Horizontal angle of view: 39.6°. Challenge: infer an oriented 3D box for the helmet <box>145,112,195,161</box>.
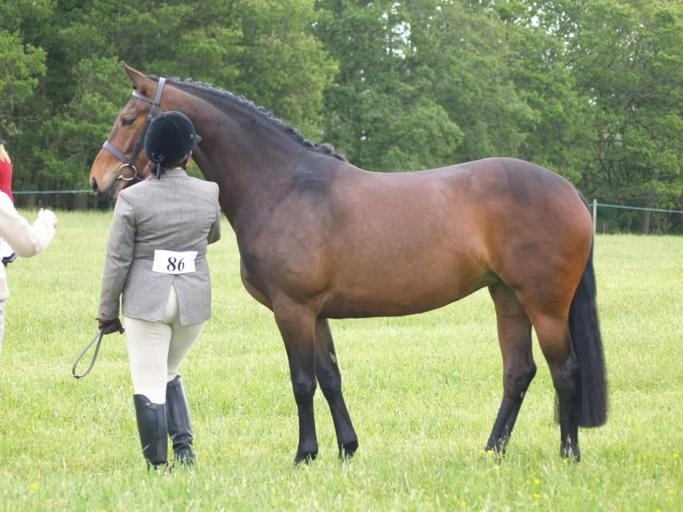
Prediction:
[{"bbox_3d":[-2.218,-1.526,12.360,0.539,0.666,0.405,-7,-29,3],"label":"helmet"}]
